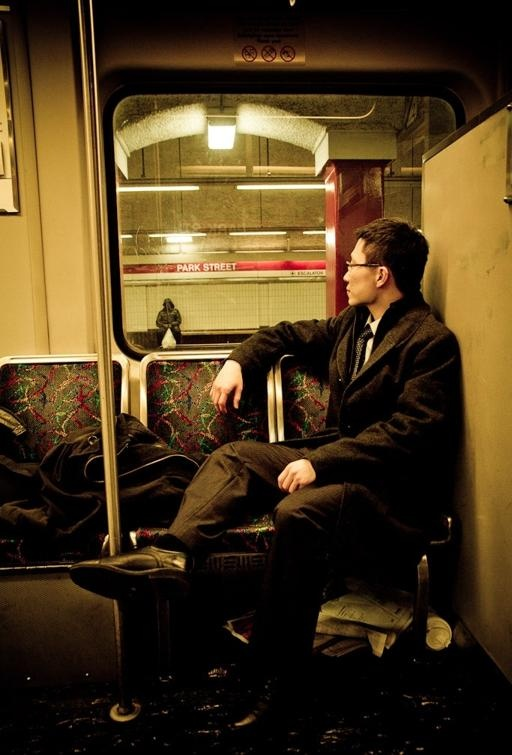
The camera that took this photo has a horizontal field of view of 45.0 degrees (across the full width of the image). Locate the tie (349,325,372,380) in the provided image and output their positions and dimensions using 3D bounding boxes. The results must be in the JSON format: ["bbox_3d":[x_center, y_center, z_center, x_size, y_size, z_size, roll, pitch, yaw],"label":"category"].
[{"bbox_3d":[0.383,-0.100,2.255,0.051,0.243,0.041,-17,-48,35],"label":"tie"}]

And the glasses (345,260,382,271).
[{"bbox_3d":[0.379,-0.385,2.143,0.079,0.025,0.076,1,9,-2],"label":"glasses"}]

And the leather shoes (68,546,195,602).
[{"bbox_3d":[-0.327,0.516,1.718,0.353,0.140,0.151,6,38,-12],"label":"leather shoes"}]

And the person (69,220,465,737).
[{"bbox_3d":[0.183,0.199,1.986,0.794,1.365,1.236,5,14,30],"label":"person"}]

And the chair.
[{"bbox_3d":[-0.056,0.518,1.964,1.037,0.695,0.408,-2,5,-10],"label":"chair"}]

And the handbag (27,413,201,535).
[{"bbox_3d":[-0.449,0.316,2.015,0.417,0.150,0.322,-5,30,-14],"label":"handbag"}]
